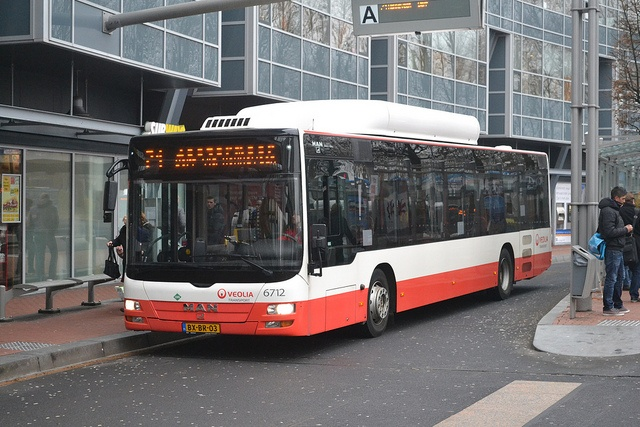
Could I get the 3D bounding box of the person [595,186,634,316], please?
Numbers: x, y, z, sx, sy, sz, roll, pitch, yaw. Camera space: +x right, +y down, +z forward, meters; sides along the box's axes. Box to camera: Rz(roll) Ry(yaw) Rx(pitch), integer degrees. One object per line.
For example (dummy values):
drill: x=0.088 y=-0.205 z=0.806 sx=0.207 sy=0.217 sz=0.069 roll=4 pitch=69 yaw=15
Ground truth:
person: x=5.952 y=0.708 z=11.775 sx=0.580 sy=2.483 sz=1.422 roll=1 pitch=1 yaw=29

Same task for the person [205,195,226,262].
person: x=-1.585 y=0.189 z=8.954 sx=0.354 sy=0.900 sz=0.098 roll=1 pitch=1 yaw=27

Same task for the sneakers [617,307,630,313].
sneakers: x=5.937 y=1.874 z=11.402 sx=0.100 sy=0.134 sz=0.287 roll=-5 pitch=-10 yaw=32

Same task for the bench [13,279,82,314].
bench: x=-5.541 y=1.692 z=11.959 sx=0.949 sy=0.665 sz=1.289 roll=0 pitch=1 yaw=9

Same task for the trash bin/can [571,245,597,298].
trash bin/can: x=5.123 y=1.148 z=11.378 sx=0.418 sy=0.996 sz=0.580 roll=1 pitch=1 yaw=30

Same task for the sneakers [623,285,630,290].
sneakers: x=7.743 y=1.864 z=14.734 sx=0.222 sy=0.170 sz=0.234 roll=-2 pitch=-5 yaw=30

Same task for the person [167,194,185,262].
person: x=-2.245 y=0.214 z=9.219 sx=0.347 sy=1.063 sz=0.118 roll=1 pitch=1 yaw=27

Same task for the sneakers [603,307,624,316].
sneakers: x=5.686 y=1.893 z=11.281 sx=0.333 sy=0.151 sz=0.133 roll=-1 pitch=-2 yaw=5

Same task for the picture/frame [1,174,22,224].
picture/frame: x=-7.768 y=-0.371 z=14.692 sx=0.140 sy=1.217 sz=0.568 roll=0 pitch=1 yaw=17
